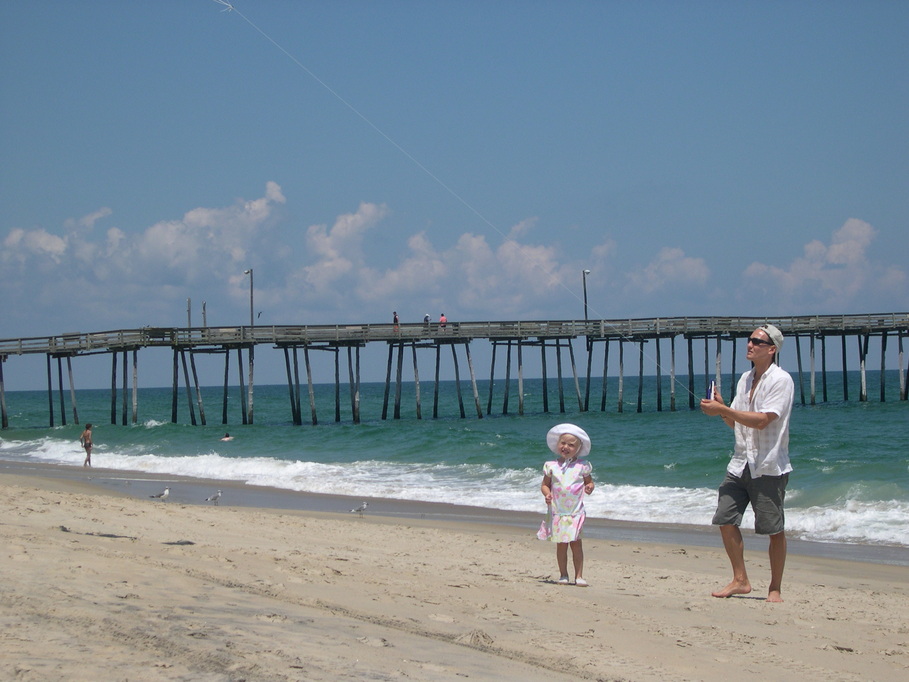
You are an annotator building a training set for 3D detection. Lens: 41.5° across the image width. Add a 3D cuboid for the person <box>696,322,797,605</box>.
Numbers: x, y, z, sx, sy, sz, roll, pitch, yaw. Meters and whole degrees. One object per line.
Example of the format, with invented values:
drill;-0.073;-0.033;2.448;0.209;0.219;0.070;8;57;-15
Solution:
person;2.620;1.099;10.571;0.724;2.524;1.165;-2;-2;12
